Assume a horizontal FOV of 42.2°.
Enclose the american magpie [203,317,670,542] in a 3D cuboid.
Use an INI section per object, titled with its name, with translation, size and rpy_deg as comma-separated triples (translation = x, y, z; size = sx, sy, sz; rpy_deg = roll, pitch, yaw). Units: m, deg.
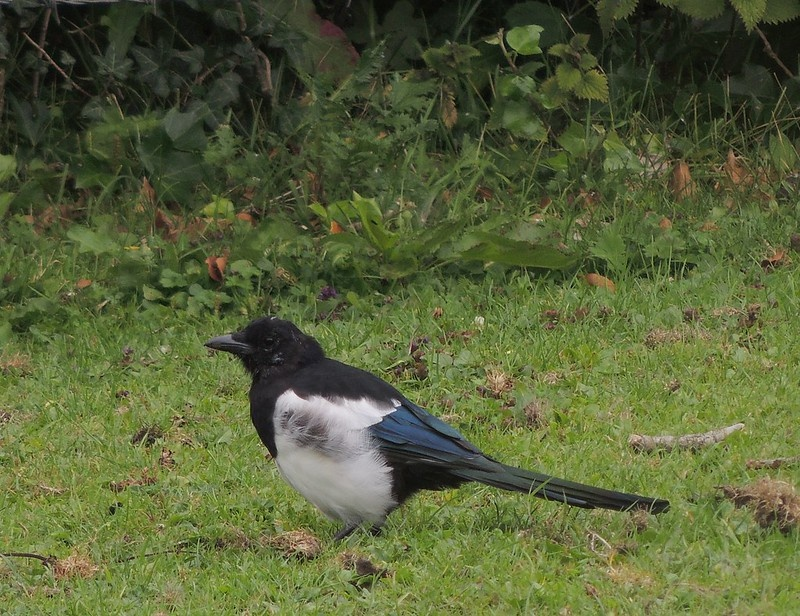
[american magpie]
translation = 0.102, 0.619, 4.378
size = 1.846, 1.013, 0.537
rpy_deg = 3, -3, 12
